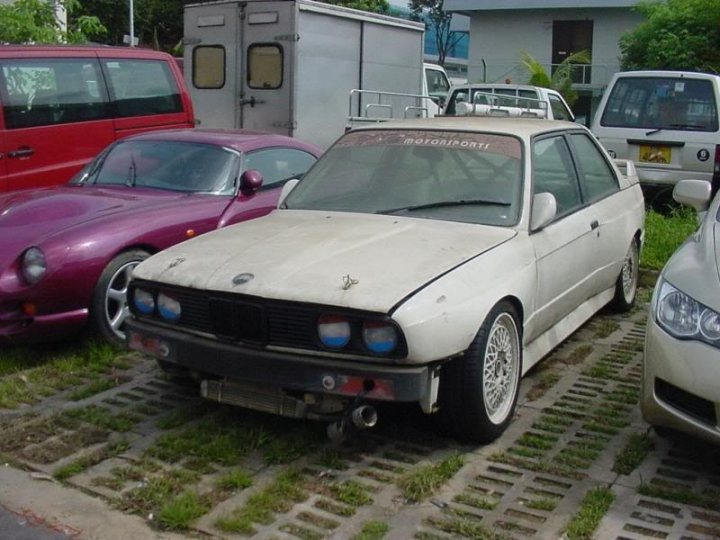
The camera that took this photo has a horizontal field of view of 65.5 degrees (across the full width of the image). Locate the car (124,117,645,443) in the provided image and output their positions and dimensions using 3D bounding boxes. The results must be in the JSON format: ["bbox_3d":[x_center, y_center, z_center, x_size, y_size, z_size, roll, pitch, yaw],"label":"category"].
[{"bbox_3d":[0.428,-0.139,4.166,2.025,2.035,3.436,12,17,41],"label":"car"}]
